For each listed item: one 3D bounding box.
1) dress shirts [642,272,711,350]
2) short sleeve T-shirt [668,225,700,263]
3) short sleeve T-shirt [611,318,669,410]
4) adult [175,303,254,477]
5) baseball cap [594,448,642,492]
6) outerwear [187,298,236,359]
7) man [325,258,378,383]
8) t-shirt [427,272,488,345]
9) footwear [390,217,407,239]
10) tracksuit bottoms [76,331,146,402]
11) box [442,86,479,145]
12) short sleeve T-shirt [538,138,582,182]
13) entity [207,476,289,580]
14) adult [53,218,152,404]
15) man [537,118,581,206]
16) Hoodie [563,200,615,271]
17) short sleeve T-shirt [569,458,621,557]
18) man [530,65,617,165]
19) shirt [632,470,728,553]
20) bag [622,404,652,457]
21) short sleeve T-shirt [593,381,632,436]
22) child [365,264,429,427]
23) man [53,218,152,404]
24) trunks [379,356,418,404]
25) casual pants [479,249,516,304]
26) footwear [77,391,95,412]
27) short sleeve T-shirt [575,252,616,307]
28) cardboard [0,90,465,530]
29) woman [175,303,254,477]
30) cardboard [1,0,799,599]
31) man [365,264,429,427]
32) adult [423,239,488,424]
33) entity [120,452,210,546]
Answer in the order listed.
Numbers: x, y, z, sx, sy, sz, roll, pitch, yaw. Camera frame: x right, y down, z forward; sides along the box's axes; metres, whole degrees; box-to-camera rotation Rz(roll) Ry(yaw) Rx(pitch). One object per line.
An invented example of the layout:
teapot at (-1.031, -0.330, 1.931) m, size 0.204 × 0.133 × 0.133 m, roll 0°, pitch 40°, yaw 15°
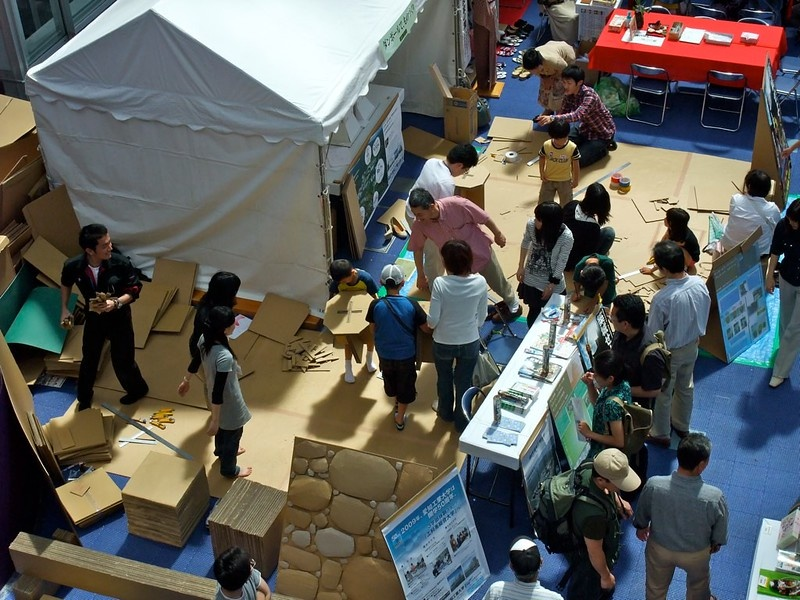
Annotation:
dress shirts at (2.742, 0.072, 5.879) m, size 0.659 × 0.695 × 0.386 m, roll -22°, pitch 30°, yaw -4°
short sleeve T-shirt at (3.072, -0.614, 6.538) m, size 0.271 × 0.451 × 0.190 m, roll 28°, pitch 91°, yaw 34°
short sleeve T-shirt at (2.271, 0.643, 5.628) m, size 0.400 × 0.841 × 0.679 m, roll -9°, pitch 23°, yaw -4°
adult at (-1.917, 1.020, 6.197) m, size 0.430 × 1.547 × 0.633 m, roll -18°, pitch 61°, yaw -21°
baseball cap at (1.557, 1.188, 4.264) m, size 0.204 × 0.185 × 0.309 m, roll -32°, pitch 36°, yaw -24°
outerwear at (-1.753, 0.281, 5.614) m, size 0.249 × 0.674 × 0.246 m, roll -1°, pitch 59°, yaw -28°
man at (-0.526, 0.204, 6.820) m, size 0.521 × 1.615 × 0.455 m, roll -18°, pitch 27°, yaw -33°
t-shirt at (0.568, 0.052, 5.915) m, size 0.588 × 0.748 × 0.388 m, roll 0°, pitch 16°, yaw 4°
footwear at (-0.035, -1.093, 9.026) m, size 0.179 × 0.116 × 0.331 m, roll -27°, pitch 65°, yaw -11°
tracksuit bottoms at (-3.341, 0.789, 6.893) m, size 0.432 × 1.082 × 0.360 m, roll 16°, pitch 60°, yaw -9°
box at (1.032, -3.210, 10.376) m, size 0.527 × 1.079 × 0.620 m, roll 11°, pitch 58°, yaw 11°
short sleeve T-shirt at (2.278, -2.003, 8.590) m, size 0.679 × 0.740 × 0.416 m, roll 9°, pitch 54°, yaw 13°
entity at (-1.362, 2.088, 5.506) m, size 0.519 × 0.546 × 0.548 m, roll 15°, pitch 29°, yaw 15°
adult at (-3.258, 0.264, 6.564) m, size 0.789 × 2.212 × 0.672 m, roll 2°, pitch 25°, yaw -15°
man at (2.248, -1.796, 8.653) m, size 0.534 × 1.703 × 0.482 m, roll 6°, pitch 42°, yaw 19°
Hoodie at (2.316, -0.806, 7.024) m, size 0.436 × 0.398 × 0.769 m, roll 2°, pitch 62°, yaw 7°
short sleeve T-shirt at (1.477, 1.617, 4.589) m, size 0.321 × 0.708 × 0.578 m, roll -10°, pitch 25°, yaw 17°
man at (2.913, -2.988, 9.892) m, size 1.157 × 1.779 × 0.938 m, roll -11°, pitch 35°, yaw 9°
shirt at (2.080, 1.548, 4.477) m, size 0.647 × 0.658 × 0.376 m, roll 3°, pitch 31°, yaw 22°
bag at (1.972, 1.057, 5.130) m, size 0.215 × 0.461 × 0.313 m, roll 0°, pitch 19°, yaw 5°
short sleeve T-shirt at (1.766, 0.910, 4.986) m, size 0.165 × 0.348 × 0.264 m, roll 13°, pitch 67°, yaw 8°
child at (0.002, 0.467, 6.259) m, size 0.625 × 1.810 × 0.575 m, roll 6°, pitch 27°, yaw 15°
man at (-3.258, 0.261, 6.563) m, size 0.778 × 2.214 × 0.680 m, roll 2°, pitch 25°, yaw -15°
trunks at (-0.029, 0.749, 6.298) m, size 0.406 × 0.680 × 0.255 m, roll 10°, pitch 39°, yaw 17°
casual pants at (1.193, -0.276, 7.438) m, size 0.218 × 0.859 × 0.252 m, roll -39°, pitch 34°, yaw 3°
footwear at (-3.574, 1.151, 6.815) m, size 0.114 × 0.177 × 0.114 m, roll 4°, pitch 62°, yaw 8°
short sleeve T-shirt at (2.057, -0.204, 6.349) m, size 0.323 × 0.437 × 0.304 m, roll 30°, pitch 77°, yaw 35°
cardboard at (-2.075, 0.140, 6.775) m, size 4.642 × 0.153 × 6.111 m, roll 8°, pitch 51°, yaw 4°
woman at (-1.917, 1.020, 6.197) m, size 0.430 × 1.547 × 0.633 m, roll -18°, pitch 61°, yaw -21°
cardboard at (-1.812, -0.945, 12.109) m, size 8.158 × 5.798 × 9.359 m, roll -1°, pitch 67°, yaw -1°
man at (0.014, 0.448, 6.272) m, size 0.648 × 1.850 × 0.594 m, roll 11°, pitch 33°, yaw 21°
adult at (0.569, 0.331, 6.147) m, size 0.519 × 2.091 × 0.588 m, roll 1°, pitch 28°, yaw 2°
entity at (-2.260, 1.950, 5.835) m, size 0.648 × 0.681 × 0.483 m, roll 10°, pitch 25°, yaw 14°
